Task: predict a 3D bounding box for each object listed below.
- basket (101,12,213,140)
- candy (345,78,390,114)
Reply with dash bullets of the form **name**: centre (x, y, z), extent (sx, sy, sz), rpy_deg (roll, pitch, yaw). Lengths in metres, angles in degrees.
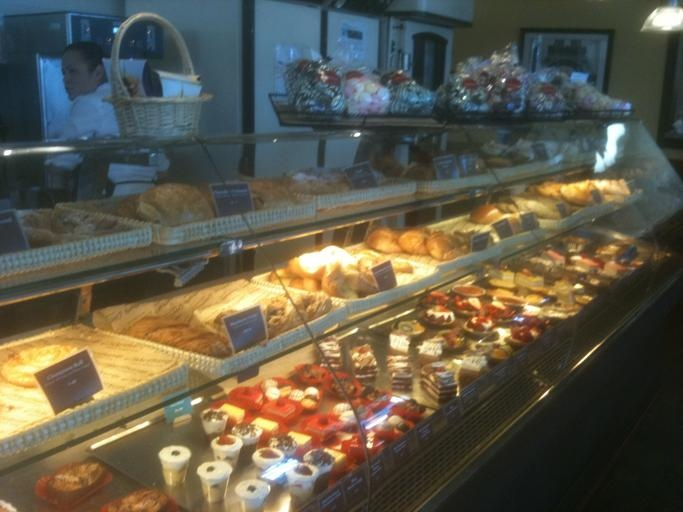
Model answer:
- **basket**: centre (-0.575, -0.580, 1.705), extent (0.301, 0.371, 0.485), rpy_deg (-3, 19, -12)
- **candy**: centre (0.097, -0.587, 2.005), extent (0.149, 0.057, 0.145), rpy_deg (14, 42, 18)
